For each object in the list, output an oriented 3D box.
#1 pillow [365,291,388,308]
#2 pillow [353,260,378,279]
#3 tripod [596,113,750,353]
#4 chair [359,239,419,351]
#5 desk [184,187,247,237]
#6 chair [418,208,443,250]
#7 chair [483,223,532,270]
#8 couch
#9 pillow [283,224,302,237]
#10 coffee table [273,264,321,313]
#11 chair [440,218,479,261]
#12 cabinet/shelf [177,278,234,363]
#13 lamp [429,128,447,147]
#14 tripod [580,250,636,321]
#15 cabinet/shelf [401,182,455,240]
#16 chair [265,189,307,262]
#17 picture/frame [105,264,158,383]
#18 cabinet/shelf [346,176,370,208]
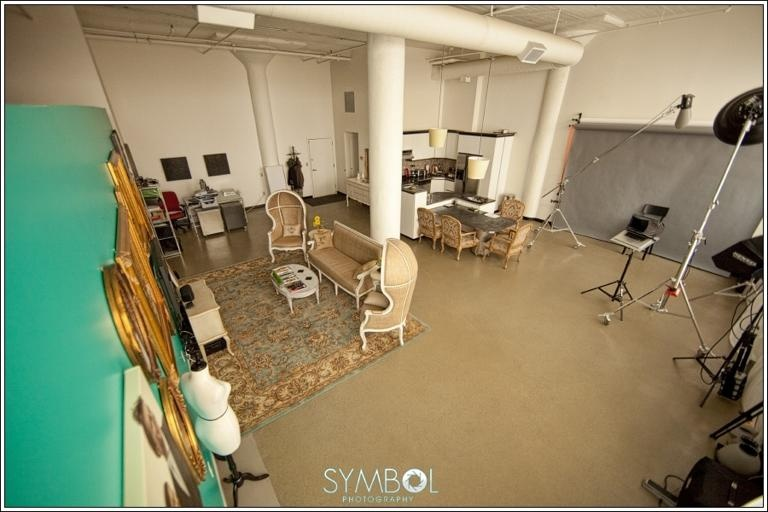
[{"bbox_3d":[-0.128,0.801,7.978,0.298,0.083,0.297,5,36,5],"label":"pillow"},{"bbox_3d":[-0.352,0.272,8.431,0.394,0.120,0.355,-20,32,36],"label":"pillow"},{"bbox_3d":[5.828,-0.154,8.335,3.826,1.490,1.620,-52,45,6],"label":"tripod"},{"bbox_3d":[0.067,0.760,7.866,0.984,1.824,1.082,6,35,5],"label":"chair"},{"bbox_3d":[-4.498,-1.222,11.929,1.414,1.058,1.102,-14,28,-27],"label":"desk"},{"bbox_3d":[1.151,-0.688,10.931,0.591,0.867,0.570,-22,40,-28],"label":"chair"},{"bbox_3d":[2.746,-0.342,10.227,0.745,1.023,0.772,-21,39,-29],"label":"chair"},{"bbox_3d":[-0.821,0.124,9.176,0.847,1.100,2.050,-22,34,-32],"label":"couch"},{"bbox_3d":[-2.113,-0.581,10.236,0.265,0.187,0.100,-3,28,-8],"label":"pillow"},{"bbox_3d":[-1.719,0.632,8.883,0.822,0.549,1.141,-16,35,-22],"label":"coffee table"},{"bbox_3d":[1.813,-0.521,10.609,0.826,1.122,0.848,16,35,23],"label":"chair"},{"bbox_3d":[-2.980,1.145,7.438,0.419,0.728,1.157,-19,44,-23],"label":"cabinet/shelf"},{"bbox_3d":[1.255,-2.627,10.077,0.531,0.470,0.588,0,24,0],"label":"lamp"},{"bbox_3d":[4.890,0.431,9.206,0.944,1.065,1.179,23,75,34],"label":"tripod"},{"bbox_3d":[1.081,-1.284,11.901,1.691,1.054,1.666,-19,32,-41],"label":"cabinet/shelf"},{"bbox_3d":[-2.141,-0.673,10.076,0.957,1.569,0.872,4,21,20],"label":"chair"},{"bbox_3d":[-2.638,0.754,4.628,0.079,1.010,0.986,-15,68,-14],"label":"picture/frame"},{"bbox_3d":[-0.764,-1.922,13.361,0.412,0.734,1.157,-22,41,-27],"label":"cabinet/shelf"}]
